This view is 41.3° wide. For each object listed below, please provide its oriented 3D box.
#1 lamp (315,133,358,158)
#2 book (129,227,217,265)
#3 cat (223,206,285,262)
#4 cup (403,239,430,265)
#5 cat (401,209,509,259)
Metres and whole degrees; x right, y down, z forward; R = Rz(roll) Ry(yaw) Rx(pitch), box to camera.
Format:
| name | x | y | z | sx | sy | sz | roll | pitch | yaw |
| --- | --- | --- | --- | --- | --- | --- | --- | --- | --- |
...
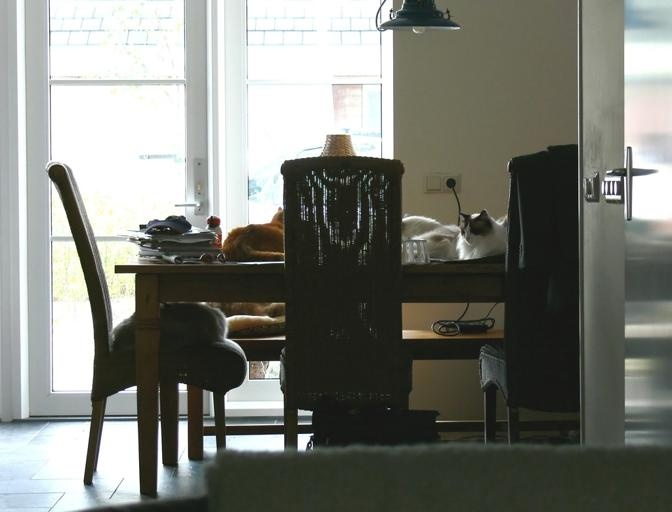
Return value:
| name | x | y | z | sx | sy | sz | roll | pitch | yaw |
| --- | --- | --- | --- | --- | --- | --- | --- | --- | --- |
| lamp | 0.004 | -0.476 | 4.042 | 0.165 | 0.106 | 0.166 | 2 | 5 | 6 |
| book | -0.630 | -0.039 | 3.476 | 0.380 | 0.115 | 0.274 | -4 | 11 | -4 |
| cat | -0.298 | -0.106 | 3.712 | 0.153 | 0.122 | 0.293 | 4 | 20 | 32 |
| cup | 0.302 | -0.014 | 3.351 | 0.086 | 0.072 | 0.093 | 1 | 1 | 0 |
| cat | 0.486 | -0.072 | 3.458 | 0.286 | 0.134 | 0.225 | 0 | 2 | 35 |
